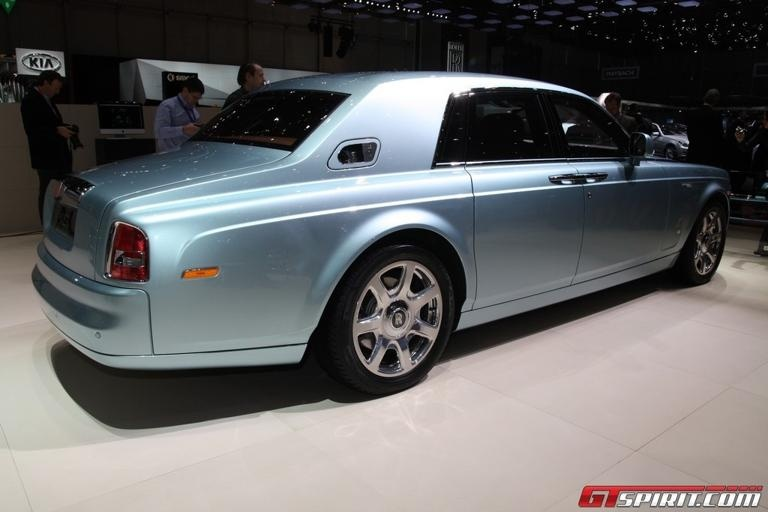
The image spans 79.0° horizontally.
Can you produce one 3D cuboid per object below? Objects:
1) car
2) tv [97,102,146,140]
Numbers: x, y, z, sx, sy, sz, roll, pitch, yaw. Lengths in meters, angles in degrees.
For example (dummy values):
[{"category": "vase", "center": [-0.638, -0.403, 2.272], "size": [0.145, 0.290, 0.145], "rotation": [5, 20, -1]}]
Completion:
[{"category": "car", "center": [0.457, -0.291, 3.824], "size": [5.063, 1.542, 2.133], "rotation": [-9, 13, -31]}, {"category": "tv", "center": [-4.069, -2.068, 7.145], "size": [0.654, 0.461, 0.187], "rotation": [-3, 5, -22]}]
